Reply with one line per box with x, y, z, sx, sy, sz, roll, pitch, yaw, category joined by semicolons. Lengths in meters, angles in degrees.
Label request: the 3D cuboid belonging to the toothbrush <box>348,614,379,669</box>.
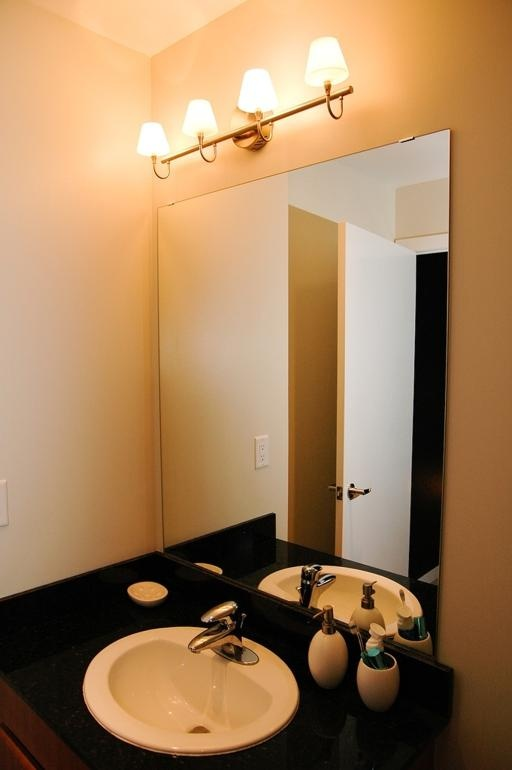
0.202;0.477;1.063;0.071;0.080;0.025;-1;-9;-35;toothbrush

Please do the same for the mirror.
0.041;-0.007;1.359;0.062;0.973;0.880;-4;4;-40;mirror

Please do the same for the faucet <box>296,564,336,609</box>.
0.118;0.419;1.268;0.077;0.103;0.076;2;4;-16;faucet

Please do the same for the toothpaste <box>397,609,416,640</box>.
0.283;0.450;1.102;0.027;0.056;0.053;-3;-2;9;toothpaste

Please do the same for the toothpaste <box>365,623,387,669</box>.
0.217;0.467;1.071;0.032;0.074;0.047;-1;3;11;toothpaste

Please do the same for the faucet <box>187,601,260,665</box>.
-0.064;0.502;1.238;0.092;0.110;0.125;1;1;40;faucet
